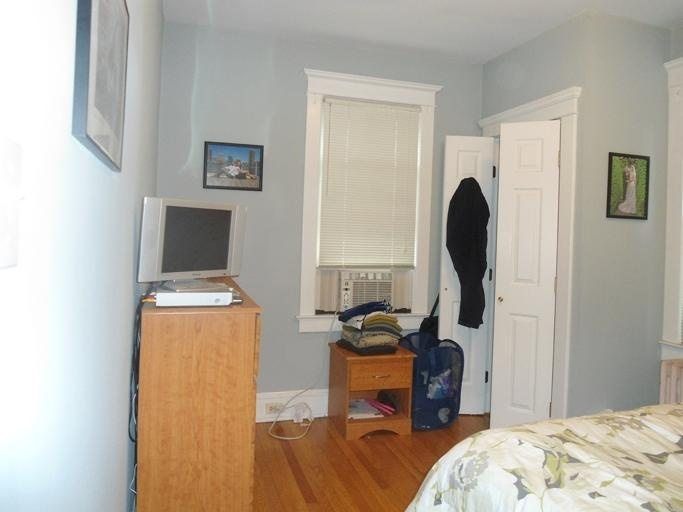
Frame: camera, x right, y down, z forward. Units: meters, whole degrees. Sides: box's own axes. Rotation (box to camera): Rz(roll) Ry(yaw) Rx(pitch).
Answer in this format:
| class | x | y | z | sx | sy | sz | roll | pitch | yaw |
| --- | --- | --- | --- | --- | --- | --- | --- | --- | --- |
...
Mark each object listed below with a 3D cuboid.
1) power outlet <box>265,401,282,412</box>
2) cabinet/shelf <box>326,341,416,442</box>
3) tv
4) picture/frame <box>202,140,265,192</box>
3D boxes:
| class | x | y | z | sx | sy | sz | roll | pitch | yaw |
| --- | --- | --- | --- | --- | --- | --- | --- | --- | --- |
| power outlet | -0.499 | 1.109 | 3.965 | 0.123 | 0.074 | 0.018 | -3 | 11 | -21 |
| cabinet/shelf | 0.210 | 0.943 | 3.907 | 0.512 | 0.585 | 0.484 | 0 | 5 | -18 |
| tv | -0.752 | -0.061 | 2.604 | 0.038 | 0.280 | 0.472 | 8 | 6 | 32 |
| picture/frame | -0.795 | -0.639 | 3.849 | 0.357 | 0.295 | 0.030 | 2 | -2 | -15 |
